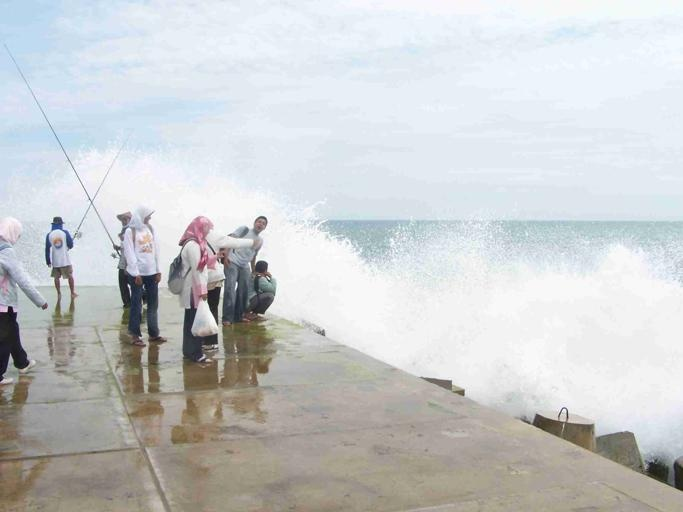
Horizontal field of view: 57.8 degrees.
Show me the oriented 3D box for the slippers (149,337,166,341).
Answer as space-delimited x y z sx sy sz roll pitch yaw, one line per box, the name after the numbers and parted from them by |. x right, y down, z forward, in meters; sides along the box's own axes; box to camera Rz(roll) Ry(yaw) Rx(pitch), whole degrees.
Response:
-2.739 1.240 9.239 0.229 0.061 0.089 -1 1 9 | slippers

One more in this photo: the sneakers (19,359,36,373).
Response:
-3.802 1.350 7.536 0.083 0.097 0.224 11 26 29 | sneakers

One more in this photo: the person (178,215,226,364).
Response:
-1.838 0.453 8.028 0.429 1.931 0.634 -7 13 -41 | person

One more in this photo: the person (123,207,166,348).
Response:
-2.783 0.316 8.794 0.534 2.039 0.831 -1 10 -16 | person
